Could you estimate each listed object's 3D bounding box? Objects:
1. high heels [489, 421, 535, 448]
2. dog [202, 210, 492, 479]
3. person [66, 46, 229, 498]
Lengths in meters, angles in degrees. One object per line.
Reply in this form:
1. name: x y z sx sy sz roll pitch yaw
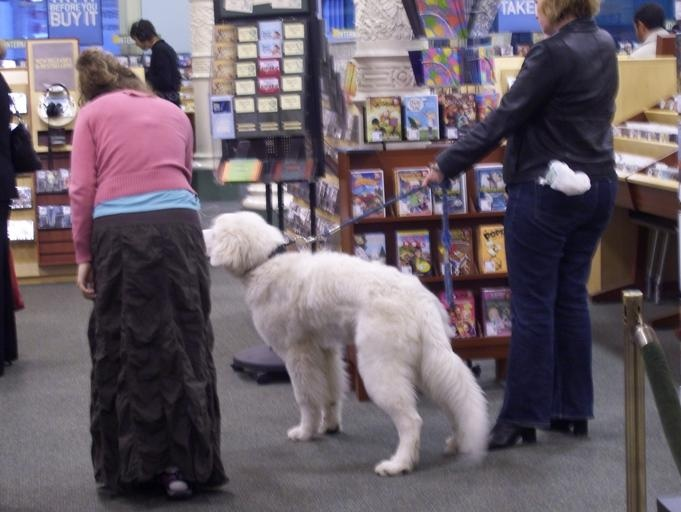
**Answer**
1. high heels: 0.861 0.916 3.732 0.295 0.151 0.108 2 1 -21
2. dog: -0.022 0.428 3.730 1.557 1.166 0.580 9 14 29
3. person: -0.887 0.070 3.304 0.627 2.000 0.497 -3 9 -11
